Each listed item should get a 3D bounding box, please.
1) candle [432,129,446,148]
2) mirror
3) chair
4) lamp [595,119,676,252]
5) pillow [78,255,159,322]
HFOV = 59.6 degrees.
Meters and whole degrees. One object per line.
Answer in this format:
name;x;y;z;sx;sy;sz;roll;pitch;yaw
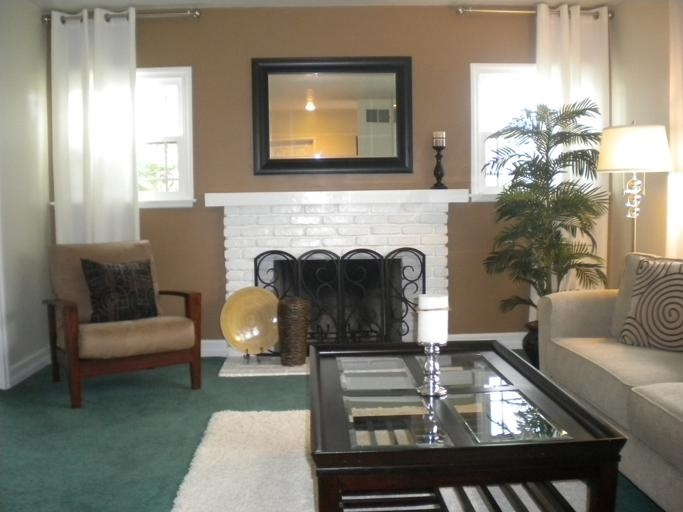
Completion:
candle;0.779;-0.948;4.822;0.128;0.135;0.128;2;1;-5
mirror;-0.107;-1.182;4.817;0.952;0.684;0.043;0;3;-4
chair;-1.548;0.379;4.316;1.119;1.324;1.040;-1;-2;-37
lamp;2.051;-0.456;4.190;0.444;0.908;0.730;4;12;27
pillow;-1.560;0.236;4.104;0.421;0.392;0.160;-2;-15;-38
